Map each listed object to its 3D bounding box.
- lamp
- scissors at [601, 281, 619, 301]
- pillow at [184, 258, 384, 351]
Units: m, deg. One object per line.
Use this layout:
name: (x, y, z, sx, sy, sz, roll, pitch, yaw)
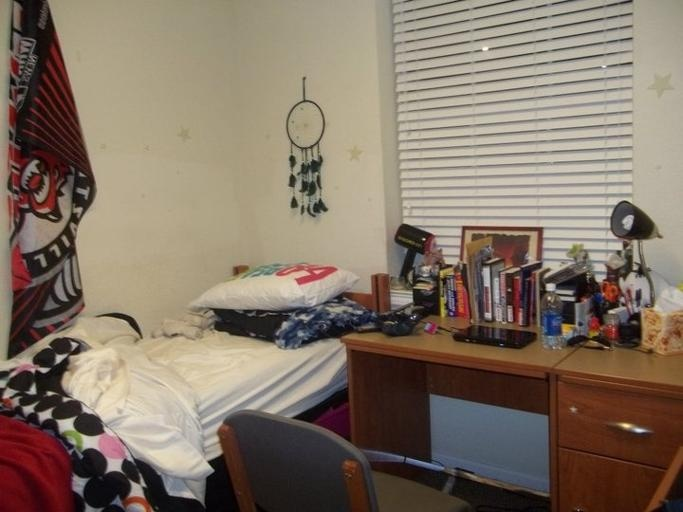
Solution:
lamp: (1.341, -0.025, 2.376, 0.183, 0.449, 0.334, 5, 5, 39)
scissors: (1.191, 0.157, 2.324, 0.049, 0.089, 0.066, -11, 14, -28)
pillow: (-0.293, 0.255, 2.770, 0.656, 0.229, 0.501, 3, 9, 37)
